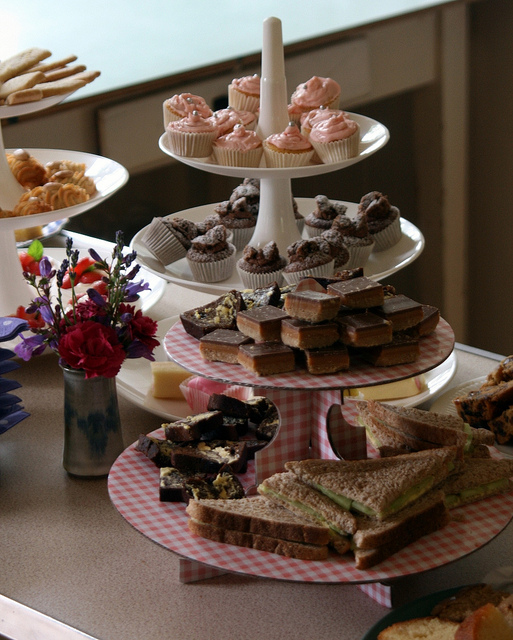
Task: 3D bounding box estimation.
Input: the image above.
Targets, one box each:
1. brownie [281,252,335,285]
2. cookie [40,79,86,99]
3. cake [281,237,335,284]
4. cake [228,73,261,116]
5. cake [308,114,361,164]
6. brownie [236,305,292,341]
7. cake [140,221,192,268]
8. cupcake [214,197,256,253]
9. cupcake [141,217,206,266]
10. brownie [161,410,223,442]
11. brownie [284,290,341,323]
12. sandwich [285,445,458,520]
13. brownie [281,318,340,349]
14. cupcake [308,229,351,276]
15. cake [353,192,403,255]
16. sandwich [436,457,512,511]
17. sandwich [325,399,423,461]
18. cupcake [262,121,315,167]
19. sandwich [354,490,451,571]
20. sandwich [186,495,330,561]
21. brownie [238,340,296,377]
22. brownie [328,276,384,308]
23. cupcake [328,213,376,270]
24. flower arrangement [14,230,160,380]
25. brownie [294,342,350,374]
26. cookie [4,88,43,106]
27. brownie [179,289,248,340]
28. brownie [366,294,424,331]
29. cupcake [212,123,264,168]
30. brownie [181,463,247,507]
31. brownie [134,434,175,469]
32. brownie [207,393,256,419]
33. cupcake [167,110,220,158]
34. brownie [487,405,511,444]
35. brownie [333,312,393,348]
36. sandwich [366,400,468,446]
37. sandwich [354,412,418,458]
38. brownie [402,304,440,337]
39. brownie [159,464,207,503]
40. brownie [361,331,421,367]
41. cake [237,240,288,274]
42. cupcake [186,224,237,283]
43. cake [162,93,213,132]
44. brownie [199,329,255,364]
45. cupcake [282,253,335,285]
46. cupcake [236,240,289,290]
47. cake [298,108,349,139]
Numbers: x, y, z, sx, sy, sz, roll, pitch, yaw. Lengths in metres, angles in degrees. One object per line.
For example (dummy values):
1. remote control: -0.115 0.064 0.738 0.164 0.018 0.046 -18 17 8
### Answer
1. brownie: 0.088 -0.086 1.108 0.076 0.038 0.075 -17 6 4
2. cookie: -0.325 -0.386 1.050 0.073 0.013 0.041 -5 5 22
3. cake: 0.086 -0.093 1.113 0.118 0.078 0.103 -5 1 -9
4. cake: -0.026 -0.477 1.340 0.072 0.078 0.204 -7 22 0
5. cake: 0.143 -0.317 1.100 0.102 0.078 0.089 14 31 39
6. brownie: 0.007 0.004 0.675 0.046 0.018 0.043 -16 24 -32
7. cake: -0.177 -0.152 1.225 0.070 0.088 0.130 6 25 27
8. cupcake: -0.049 -0.215 1.415 0.103 0.098 0.096 1 32 2
9. cupcake: -0.166 -0.167 1.246 0.103 0.097 0.108 -39 26 2
10. brownie: -0.082 0.132 0.778 0.049 0.012 0.048 -20 7 -42
11. brownie: 0.056 -0.014 0.641 0.040 0.020 0.047 -6 15 -34
12. sandwich: 0.108 0.142 0.608 0.094 0.019 0.093 12 19 36
13. brownie: 0.054 0.014 0.635 0.043 0.016 0.037 1 8 5
14. cupcake: 0.143 -0.121 1.152 0.098 0.080 0.094 -4 2 -9
15. cake: 0.237 -0.208 1.280 0.117 0.103 0.118 -1 37 22
16. sandwich: 0.227 0.171 0.664 0.063 0.013 0.054 -12 14 -7
17. sandwich: 0.154 0.130 0.751 0.107 0.090 0.024 -2 10 10
18. cupcake: 0.054 -0.294 1.070 0.096 0.065 0.089 3 14 5
19. sandwich: 0.130 0.189 0.569 0.065 0.013 0.059 -20 0 -4
20. sandwich: 0.007 0.180 0.584 0.070 0.014 0.072 17 7 39
21. brownie: 0.010 0.038 0.626 0.046 0.016 0.040 -6 18 -18
22. brownie: 0.105 -0.029 0.698 0.059 0.024 0.052 -12 23 -16
23. cupcake: 0.173 -0.152 1.232 0.114 0.102 0.099 4 30 2
24. flower arrangement: -0.223 -0.002 0.816 0.170 0.167 0.143 -3 2 -25
25. brownie: 0.066 0.032 0.633 0.040 0.019 0.044 -4 13 -12
26. cookie: -0.385 -0.362 1.021 0.071 0.023 0.028 -3 23 6
27. brownie: -0.055 0.002 0.767 0.075 0.025 0.075 -13 39 7
28. brownie: 0.155 -0.010 0.690 0.051 0.015 0.048 -23 36 -33
29. cupcake: -0.034 -0.314 1.136 0.108 0.073 0.101 0 23 -3
30. brownie: -0.052 0.178 0.684 0.043 0.011 0.039 -6 24 -28
31. brownie: -0.116 0.157 0.744 0.042 0.014 0.038 19 8 -17
32. brownie: -0.034 0.108 0.820 0.044 0.012 0.040 13 6 13
33. cupcake: -0.114 -0.324 1.134 0.117 0.072 0.105 1 14 -4
34. brownie: 0.329 0.143 0.853 0.029 0.057 0.012 0 28 16
35. brownie: 0.110 0.012 0.658 0.052 0.027 0.051 -8 22 -7
36. sandwich: 0.198 0.121 0.720 0.086 0.016 0.079 9 7 -5
37. sandwich: 0.176 0.131 0.772 0.076 0.015 0.077 -4 8 36
38. brownie: 0.183 0.000 0.717 0.047 0.014 0.043 -27 20 -28
39. brownie: -0.086 0.179 0.693 0.041 0.008 0.035 0 13 -24
40. brownie: 0.141 0.033 0.641 0.051 0.020 0.037 -14 22 -28
41. cake: 0.006 -0.116 1.116 0.080 0.038 0.070 0 11 1
42. cupcake: -0.076 -0.122 1.211 0.107 0.085 0.106 -1 16 1
43. cake: -0.149 -0.434 1.301 0.082 0.047 0.072 -6 29 -4
44. brownie: -0.037 0.029 0.671 0.046 0.018 0.040 7 25 14
45. cupcake: 0.091 -0.086 1.074 0.096 0.048 0.053 -8 23 -7
46. cupcake: 0.014 -0.103 1.162 0.110 0.078 0.100 -1 7 0
47. cake: 0.119 -0.368 1.174 0.105 0.063 0.104 -6 21 0
